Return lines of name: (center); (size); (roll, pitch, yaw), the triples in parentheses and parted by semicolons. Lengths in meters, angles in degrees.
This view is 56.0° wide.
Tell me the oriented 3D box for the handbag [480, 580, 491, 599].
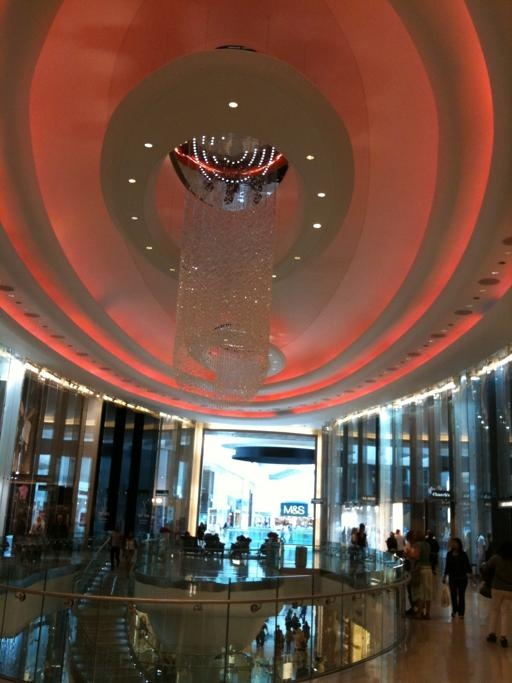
handbag: (2.959, 3.179, 6.208); (0.116, 0.206, 0.398); (-5, -20, 21)
